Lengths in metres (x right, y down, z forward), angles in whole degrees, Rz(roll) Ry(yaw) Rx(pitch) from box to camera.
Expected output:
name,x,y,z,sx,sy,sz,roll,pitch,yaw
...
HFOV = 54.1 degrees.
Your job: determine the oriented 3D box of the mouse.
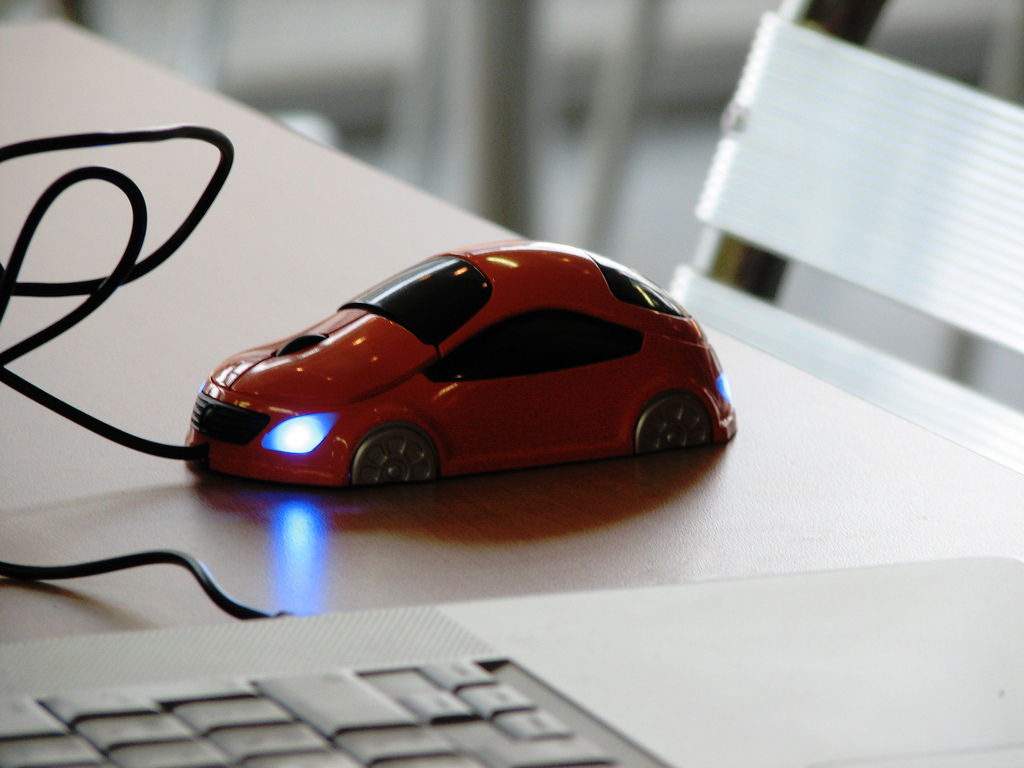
name,x,y,z,sx,sy,sz,roll,pitch,yaw
mouse,-0.028,-0.029,0.545,0.229,0.084,0.127,-1,10,-21
